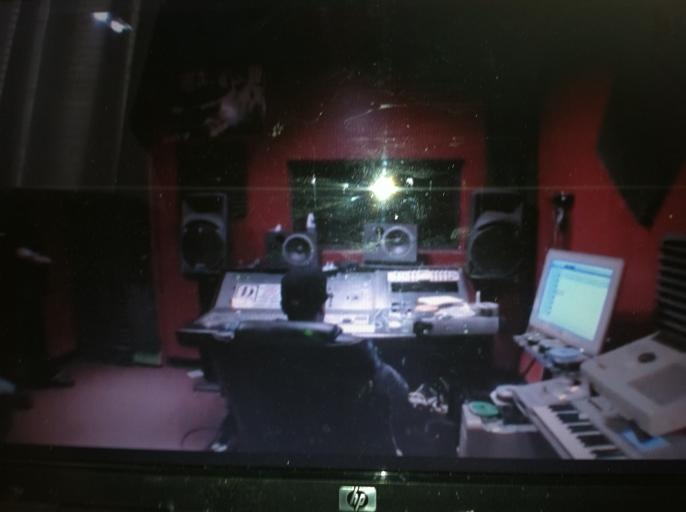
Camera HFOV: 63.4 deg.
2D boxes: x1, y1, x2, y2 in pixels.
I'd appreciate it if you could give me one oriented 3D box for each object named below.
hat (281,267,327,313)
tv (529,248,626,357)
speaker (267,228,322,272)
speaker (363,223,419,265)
[{"bbox_3d":[-0.180,0.183,2.677,0.178,0.210,0.229,2,15,3],"label":"hat"},{"bbox_3d":[1.249,0.267,2.944,0.061,0.620,0.551,13,2,-32],"label":"tv"},{"bbox_3d":[-0.318,-0.036,3.598,0.346,0.256,0.196,1,0,12],"label":"speaker"},{"bbox_3d":[0.336,-0.079,3.634,0.371,0.274,0.214,0,3,22],"label":"speaker"}]
